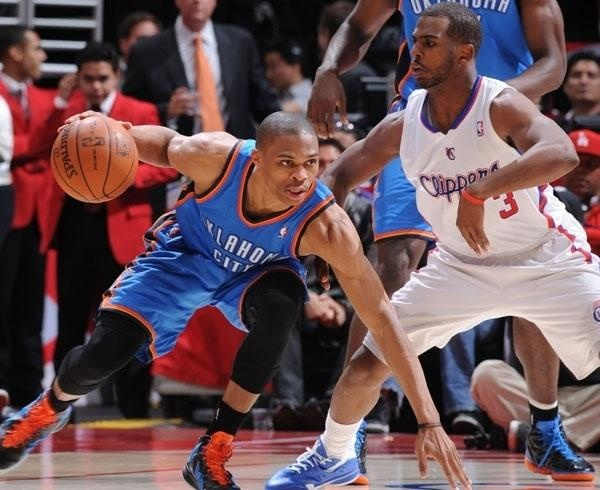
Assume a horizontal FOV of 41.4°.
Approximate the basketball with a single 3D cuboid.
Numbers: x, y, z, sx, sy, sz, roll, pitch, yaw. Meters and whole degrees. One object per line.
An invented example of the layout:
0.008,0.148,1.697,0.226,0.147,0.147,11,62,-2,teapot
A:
-0.763,-0.310,2.936,0.310,0.311,0.210,3,14,-18,basketball
